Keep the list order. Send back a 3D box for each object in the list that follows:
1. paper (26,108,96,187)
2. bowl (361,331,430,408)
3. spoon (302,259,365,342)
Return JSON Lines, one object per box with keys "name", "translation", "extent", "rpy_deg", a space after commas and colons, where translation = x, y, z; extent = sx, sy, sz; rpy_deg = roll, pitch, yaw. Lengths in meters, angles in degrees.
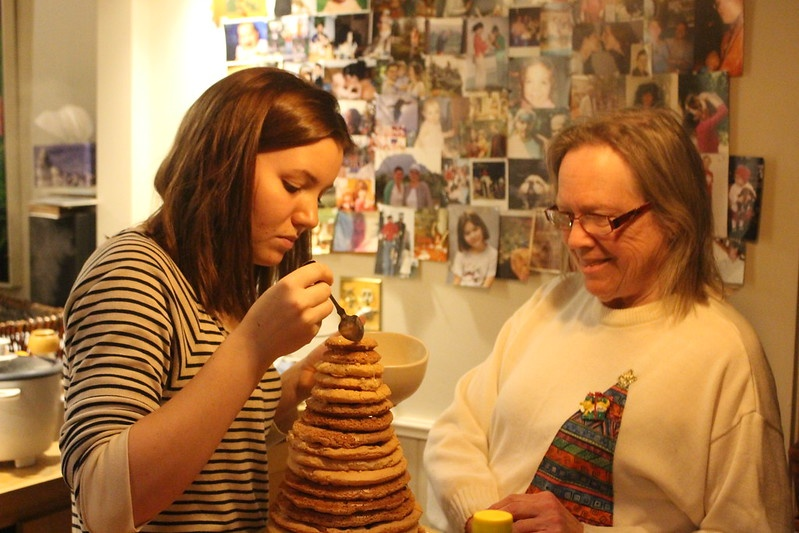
{"name": "paper", "translation": [-1.436, -0.515, 3.002], "extent": [0.323, 0.452, 0.048], "rpy_deg": [-1, 5, -12]}
{"name": "bowl", "translation": [0.011, 0.274, 1.989], "extent": [0.197, 0.149, 0.211], "rpy_deg": [0, -1, 0]}
{"name": "spoon", "translation": [-0.173, 0.047, 1.685], "extent": [0.073, 0.301, 0.043], "rpy_deg": [-31, -23, 5]}
